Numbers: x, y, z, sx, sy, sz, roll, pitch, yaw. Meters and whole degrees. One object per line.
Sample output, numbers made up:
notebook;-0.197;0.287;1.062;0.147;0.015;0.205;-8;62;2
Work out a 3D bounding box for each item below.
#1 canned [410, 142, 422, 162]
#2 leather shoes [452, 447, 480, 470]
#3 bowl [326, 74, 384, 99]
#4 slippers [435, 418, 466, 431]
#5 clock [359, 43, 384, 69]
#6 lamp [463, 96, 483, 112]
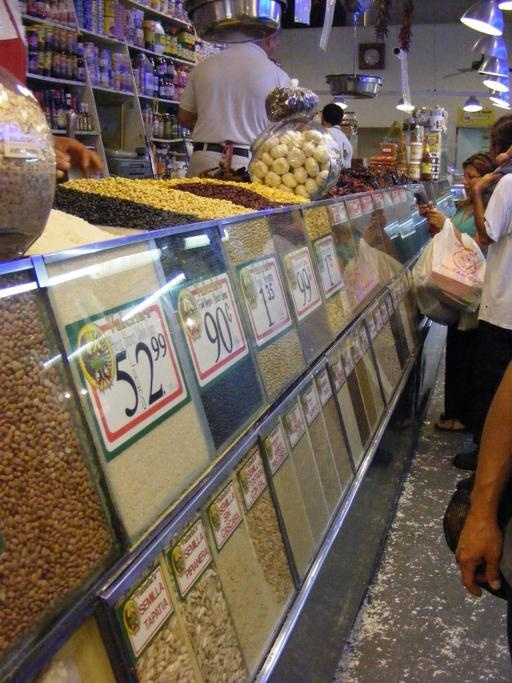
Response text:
canned;1.492;-1.755;4.039;0.138;0.169;0.089;-1;13;-12
leather shoes;1.164;0.659;2.469;0.169;0.110;0.081;8;2;15
bowl;1.185;-3.054;5.236;0.575;0.257;0.664;6;13;16
slippers;1.307;0.568;2.928;0.181;0.076;0.072;8;18;13
clock;3.112;-7.661;11.888;0.628;0.620;0.156;-1;13;2
lamp;5.240;-5.744;10.504;0.305;0.447;0.607;9;14;29
